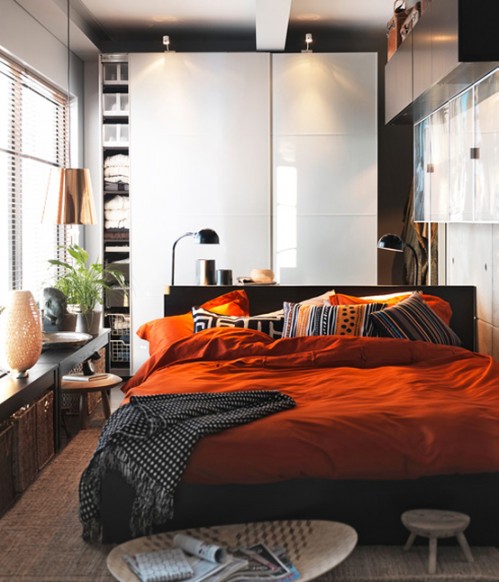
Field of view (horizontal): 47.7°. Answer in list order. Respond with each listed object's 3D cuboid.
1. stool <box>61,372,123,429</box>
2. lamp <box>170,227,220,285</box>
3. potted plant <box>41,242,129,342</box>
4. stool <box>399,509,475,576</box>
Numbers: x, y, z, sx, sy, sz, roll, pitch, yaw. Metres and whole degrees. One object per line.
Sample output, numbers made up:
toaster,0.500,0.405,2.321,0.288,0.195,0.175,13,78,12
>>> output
stool,-0.956,0.637,3.401,0.371,0.192,0.342,-1,-2,0
lamp,-0.476,-0.255,4.542,0.325,0.481,0.909,-5,9,-11
potted plant,-1.114,-0.019,4.193,0.780,0.703,0.771,0,1,-33
stool,0.539,0.775,1.718,0.226,0.128,0.188,2,-5,-25
